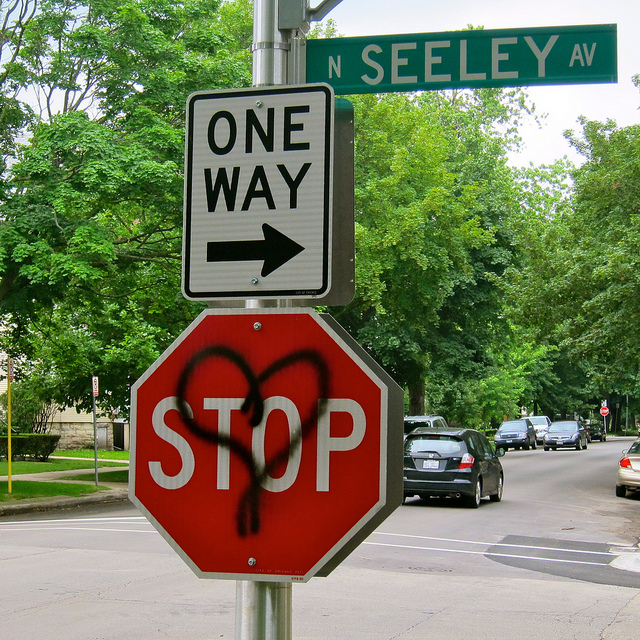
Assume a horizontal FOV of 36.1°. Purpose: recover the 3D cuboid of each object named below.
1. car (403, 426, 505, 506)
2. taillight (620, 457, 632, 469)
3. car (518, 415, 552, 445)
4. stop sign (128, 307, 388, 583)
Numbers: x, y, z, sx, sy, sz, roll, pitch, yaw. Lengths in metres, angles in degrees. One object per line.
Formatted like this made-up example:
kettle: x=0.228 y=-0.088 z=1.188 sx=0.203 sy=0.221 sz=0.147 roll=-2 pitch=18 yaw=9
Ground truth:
car: x=2.363 y=2.675 z=17.926 sx=1.227 sy=1.423 sz=2.205 roll=-4 pitch=-9 yaw=27
taillight: x=6.349 y=2.985 z=20.430 sx=0.119 sy=0.207 sz=0.290 roll=3 pitch=-8 yaw=-23
car: x=12.363 y=6.060 z=55.340 sx=1.249 sy=1.189 sz=2.754 roll=-2 pitch=-14 yaw=9
stop sign: x=-0.198 y=0.366 z=2.932 sx=0.786 sy=0.782 sz=0.143 roll=3 pitch=-7 yaw=-15
